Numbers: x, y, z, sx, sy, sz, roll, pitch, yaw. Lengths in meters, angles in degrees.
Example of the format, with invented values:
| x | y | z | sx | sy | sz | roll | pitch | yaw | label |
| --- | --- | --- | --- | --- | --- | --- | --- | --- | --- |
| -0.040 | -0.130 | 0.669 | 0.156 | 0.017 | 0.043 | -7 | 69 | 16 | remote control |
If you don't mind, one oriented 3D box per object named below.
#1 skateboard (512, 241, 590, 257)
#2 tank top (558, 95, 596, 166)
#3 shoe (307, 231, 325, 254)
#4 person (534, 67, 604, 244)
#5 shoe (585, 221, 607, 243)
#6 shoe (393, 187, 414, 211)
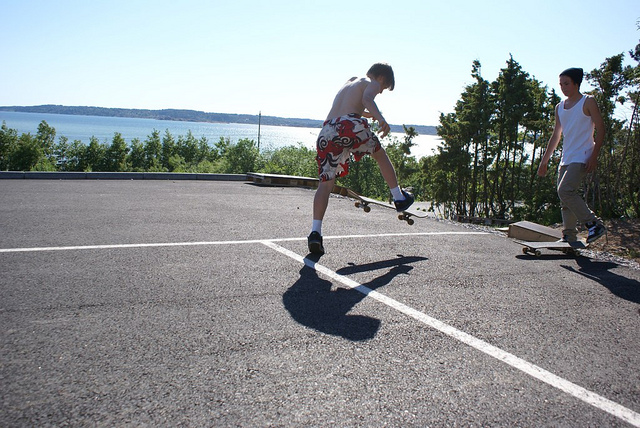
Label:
| x | y | z | sx | sy | sz | roll | pitch | yaw | label |
| --- | --- | --- | --- | --- | --- | --- | --- | --- | --- |
| 2.957 | 0.431 | 4.967 | 1.046 | 0.196 | 0.328 | 3 | 9 | -10 | skateboard |
| 3.402 | -1.100 | 5.261 | 0.503 | 0.899 | 0.320 | 6 | 4 | 43 | tank top |
| -0.061 | 0.304 | 4.299 | 0.115 | 0.257 | 0.120 | -2 | 41 | 4 | shoe |
| 3.385 | -0.763 | 5.315 | 0.551 | 2.219 | 0.833 | 3 | 3 | 0 | person |
| 3.499 | 0.232 | 5.049 | 0.207 | 0.273 | 0.160 | 5 | 3 | 32 | shoe |
| 1.129 | -0.199 | 5.223 | 0.150 | 0.172 | 0.403 | -2 | 24 | 34 | shoe |
